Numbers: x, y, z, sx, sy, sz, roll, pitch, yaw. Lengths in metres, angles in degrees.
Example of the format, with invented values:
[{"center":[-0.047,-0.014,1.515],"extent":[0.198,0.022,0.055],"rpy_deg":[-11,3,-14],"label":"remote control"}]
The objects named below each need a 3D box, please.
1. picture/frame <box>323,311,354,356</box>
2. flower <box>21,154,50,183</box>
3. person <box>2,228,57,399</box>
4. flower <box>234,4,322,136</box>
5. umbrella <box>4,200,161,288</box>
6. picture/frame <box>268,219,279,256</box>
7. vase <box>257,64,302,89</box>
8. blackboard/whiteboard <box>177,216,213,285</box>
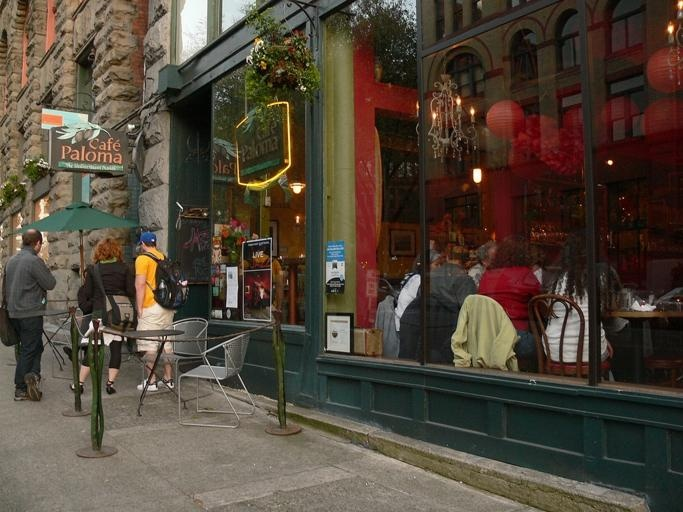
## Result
[{"center":[-0.026,1.017,9.021],"extent":[0.471,0.583,0.038],"rpy_deg":[-8,-14,44],"label":"picture/frame"},{"center":[-8.659,-2.445,19.966],"extent":[0.427,0.729,1.608],"rpy_deg":[-2,5,-32],"label":"flower"},{"center":[-4.460,0.829,10.102],"extent":[0.847,2.379,0.811],"rpy_deg":[-1,-2,39],"label":"person"},{"center":[-0.805,-2.379,9.041],"extent":[0.806,1.681,0.780],"rpy_deg":[-5,4,-43],"label":"flower"},{"center":[-4.506,-0.143,12.186],"extent":[1.165,1.418,1.703],"rpy_deg":[2,0,-37],"label":"umbrella"},{"center":[-0.954,-0.242,10.073],"extent":[0.050,0.494,0.283],"rpy_deg":[-2,5,-31],"label":"picture/frame"},{"center":[-0.757,-2.202,8.769],"extent":[0.326,0.171,0.351],"rpy_deg":[7,6,18],"label":"vase"},{"center":[-2.606,-0.060,12.417],"extent":[1.041,1.385,0.100],"rpy_deg":[2,-7,-24],"label":"blackboard/whiteboard"}]
